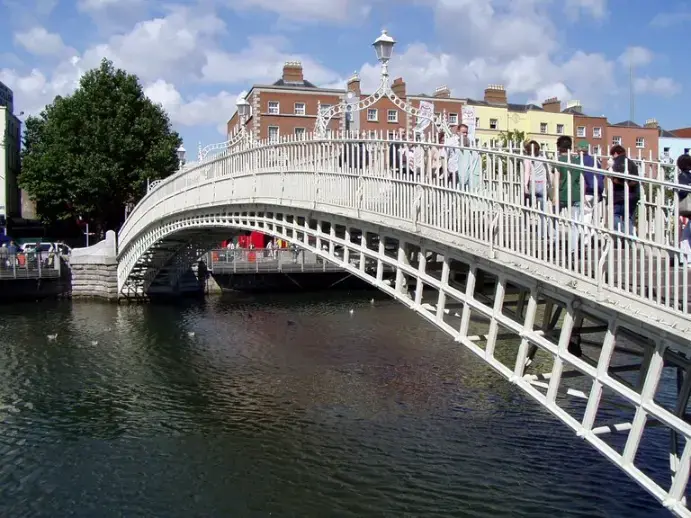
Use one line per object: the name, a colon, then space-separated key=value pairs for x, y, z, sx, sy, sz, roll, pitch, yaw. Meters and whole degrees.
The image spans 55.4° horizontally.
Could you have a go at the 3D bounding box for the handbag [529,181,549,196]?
handbag: x=3.112 y=-1.083 z=10.496 sx=0.328 sy=0.280 sz=0.229 roll=11 pitch=24 yaw=39

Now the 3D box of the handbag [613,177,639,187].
handbag: x=4.319 y=-1.191 z=10.163 sx=0.354 sy=0.089 sz=0.361 roll=3 pitch=2 yaw=19

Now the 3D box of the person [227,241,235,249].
person: x=-8.459 y=-1.015 z=48.628 sx=0.793 sy=0.561 sz=1.835 roll=2 pitch=0 yaw=-12
